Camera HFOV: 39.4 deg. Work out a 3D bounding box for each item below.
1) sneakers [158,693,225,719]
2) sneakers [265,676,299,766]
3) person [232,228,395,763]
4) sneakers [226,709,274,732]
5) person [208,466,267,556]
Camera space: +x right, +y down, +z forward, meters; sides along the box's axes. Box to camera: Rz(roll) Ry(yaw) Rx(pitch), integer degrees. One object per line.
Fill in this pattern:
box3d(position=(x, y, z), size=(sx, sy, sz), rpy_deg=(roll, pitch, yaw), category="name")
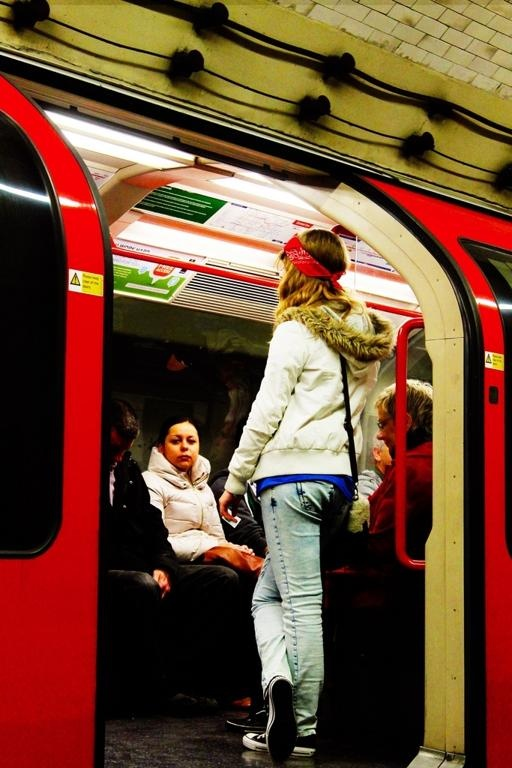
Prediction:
box3d(position=(-0.306, 1.459, 3.239), size=(0.153, 0.074, 0.207), rpy_deg=(8, -13, -25), category="sneakers")
box3d(position=(0.074, 1.082, 2.322), size=(0.100, 0.253, 0.100), rpy_deg=(-2, -8, -14), category="sneakers")
box3d(position=(0.171, 0.299, 2.646), size=(0.403, 1.964, 0.568), rpy_deg=(-3, -13, 40), category="person")
box3d(position=(-0.024, 1.370, 2.921), size=(0.223, 0.083, 0.079), rpy_deg=(7, -23, -9), category="sneakers")
box3d(position=(-0.072, 0.829, 5.078), size=(0.255, 0.554, 0.750), rpy_deg=(-21, -14, 26), category="person")
